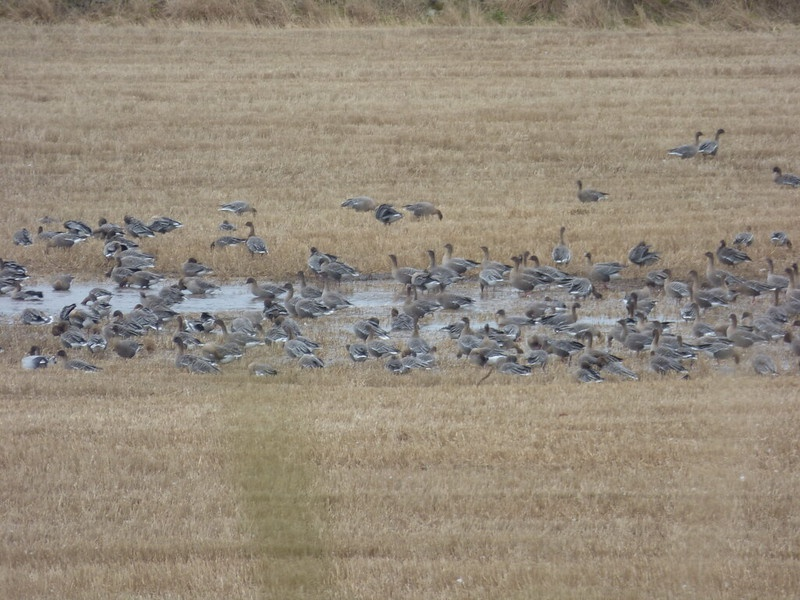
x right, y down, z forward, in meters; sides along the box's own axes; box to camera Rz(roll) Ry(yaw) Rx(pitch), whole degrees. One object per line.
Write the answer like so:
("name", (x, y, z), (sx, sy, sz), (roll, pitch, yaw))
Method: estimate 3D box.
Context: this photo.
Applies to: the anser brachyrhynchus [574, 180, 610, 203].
("anser brachyrhynchus", (6.313, -3.536, 63.941), (1.112, 0.855, 0.586), (-5, 0, -4))
